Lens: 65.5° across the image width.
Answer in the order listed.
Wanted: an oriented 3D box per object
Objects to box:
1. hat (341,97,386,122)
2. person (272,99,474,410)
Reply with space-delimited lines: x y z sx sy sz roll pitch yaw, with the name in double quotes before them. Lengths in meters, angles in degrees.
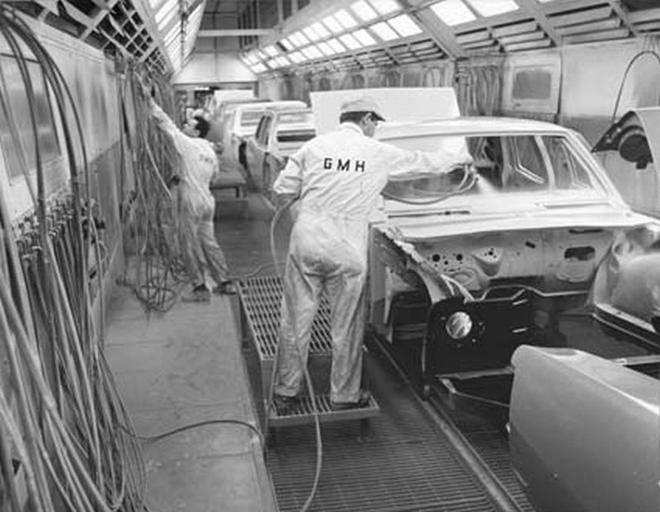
"hat" 0.221 -1.069 3.737 0.205 0.131 0.159 -3 11 -7
"person" -0.021 -0.007 3.608 0.766 2.177 0.675 0 13 -4
